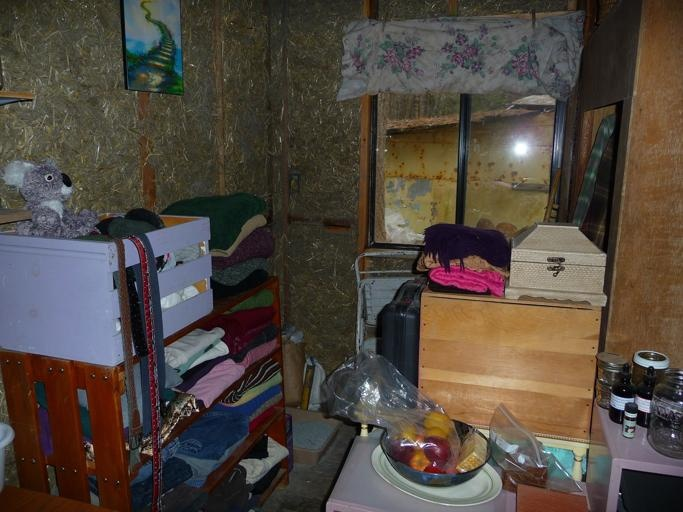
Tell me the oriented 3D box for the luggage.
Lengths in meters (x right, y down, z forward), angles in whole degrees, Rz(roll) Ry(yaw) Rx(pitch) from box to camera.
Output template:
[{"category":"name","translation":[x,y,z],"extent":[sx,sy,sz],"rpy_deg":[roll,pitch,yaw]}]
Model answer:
[{"category":"luggage","translation":[0.264,0.388,2.350],"extent":[0.160,0.509,0.462],"rpy_deg":[3,8,13]}]

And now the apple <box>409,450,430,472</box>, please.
[{"category":"apple","translation":[0.275,0.722,1.908],"extent":[0.043,0.022,0.056],"rpy_deg":[9,24,15]}]

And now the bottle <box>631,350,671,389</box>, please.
[{"category":"bottle","translation":[1.176,0.414,2.080],"extent":[0.133,0.146,0.135],"rpy_deg":[-3,11,-3]}]

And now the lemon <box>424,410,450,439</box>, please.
[{"category":"lemon","translation":[0.353,0.631,2.002],"extent":[0.065,0.070,0.086],"rpy_deg":[0,-9,-35]}]

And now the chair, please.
[{"category":"chair","translation":[0.278,0.263,4.003],"extent":[0.609,1.150,0.680],"rpy_deg":[2,11,5]}]

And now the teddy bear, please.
[{"category":"teddy bear","translation":[-1.045,-0.225,2.084],"extent":[0.288,0.387,0.333],"rpy_deg":[-4,14,-13]}]

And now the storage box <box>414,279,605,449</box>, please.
[{"category":"storage box","translation":[0.621,0.364,2.431],"extent":[0.955,0.857,0.522],"rpy_deg":[4,9,13]}]
